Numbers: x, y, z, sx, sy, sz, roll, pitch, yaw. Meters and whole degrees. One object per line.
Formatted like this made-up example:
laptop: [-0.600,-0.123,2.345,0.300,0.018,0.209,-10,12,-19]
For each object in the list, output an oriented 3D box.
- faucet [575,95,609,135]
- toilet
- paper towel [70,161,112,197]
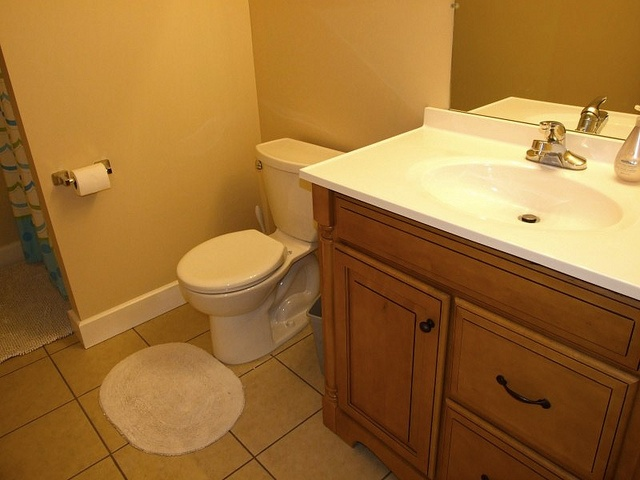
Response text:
faucet: [0.879,-0.404,1.654,0.042,0.076,0.142,26,55,36]
toilet: [-0.288,0.081,2.374,0.485,0.861,0.779,24,38,38]
paper towel: [-0.997,-0.259,2.235,0.104,0.106,0.143,-5,16,46]
